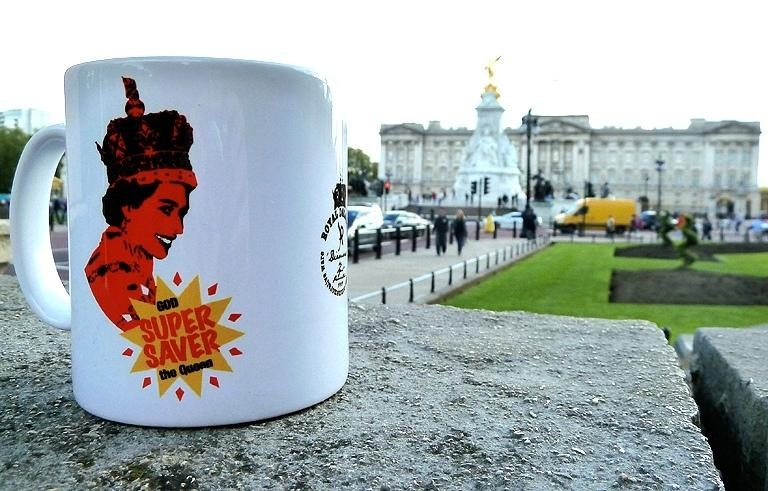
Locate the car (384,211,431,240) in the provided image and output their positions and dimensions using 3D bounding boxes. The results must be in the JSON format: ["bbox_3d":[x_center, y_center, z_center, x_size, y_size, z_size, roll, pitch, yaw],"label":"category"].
[{"bbox_3d":[0.752,-0.897,30.026,0.949,0.716,2.072,-1,-7,28],"label":"car"}]
